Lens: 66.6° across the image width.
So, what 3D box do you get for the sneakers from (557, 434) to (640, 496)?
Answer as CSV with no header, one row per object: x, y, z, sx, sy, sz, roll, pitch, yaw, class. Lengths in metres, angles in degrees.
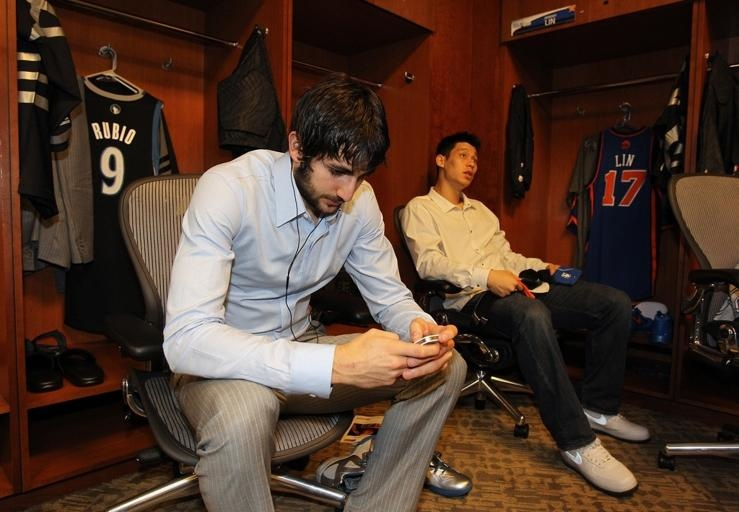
1.082,0.985,2.723,0.149,0.161,0.390,-22,22,-25,sneakers

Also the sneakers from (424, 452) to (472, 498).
0.324,1.042,2.736,0.329,0.146,0.121,-1,2,45,sneakers

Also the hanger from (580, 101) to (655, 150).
1.845,-0.957,4.128,0.499,0.345,0.027,5,-31,41,hanger

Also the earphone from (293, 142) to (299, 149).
-0.272,-0.409,2.096,0.021,0.015,0.020,28,-17,0,earphone

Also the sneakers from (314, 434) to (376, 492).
-0.095,0.877,2.516,0.196,0.092,0.306,2,18,32,sneakers

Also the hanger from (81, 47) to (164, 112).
-1.362,-0.963,3.059,0.027,0.367,0.497,-35,-33,32,hanger
